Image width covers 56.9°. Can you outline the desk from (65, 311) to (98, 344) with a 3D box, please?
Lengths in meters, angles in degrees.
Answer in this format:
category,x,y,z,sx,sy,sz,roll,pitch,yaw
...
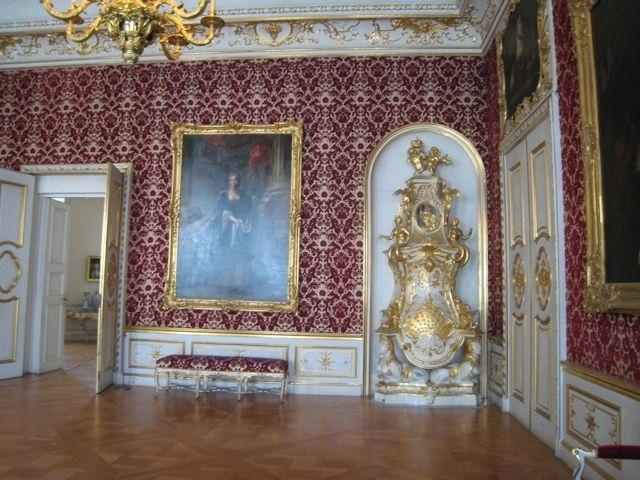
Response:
category,x,y,z,sx,sy,sz,roll,pitch,yaw
desk,-4.935,1.814,12.268,0.750,0.627,0.614,-5,-7,42
